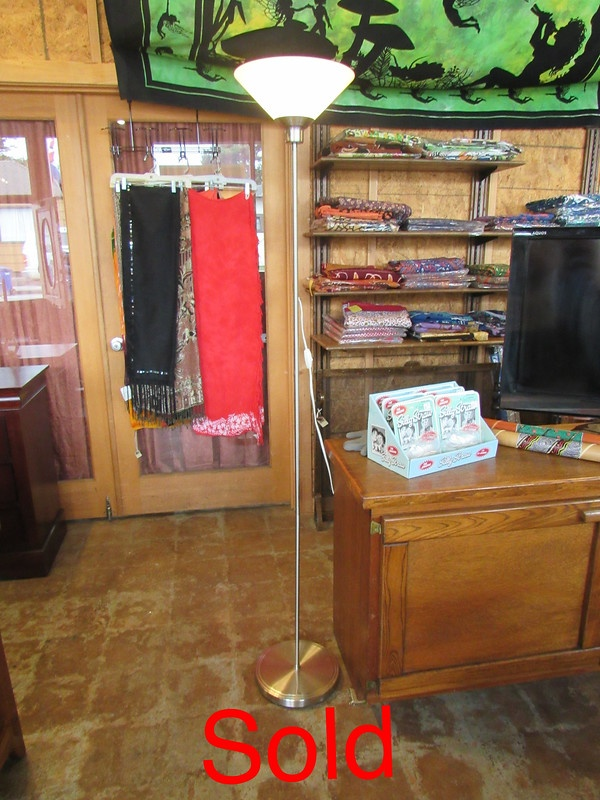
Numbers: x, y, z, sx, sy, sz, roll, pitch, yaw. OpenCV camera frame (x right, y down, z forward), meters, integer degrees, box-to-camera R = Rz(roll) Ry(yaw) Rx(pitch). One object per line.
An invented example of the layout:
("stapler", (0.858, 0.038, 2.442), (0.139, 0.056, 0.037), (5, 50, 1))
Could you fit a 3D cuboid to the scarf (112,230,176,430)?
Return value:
("scarf", (-0.769, -0.320, 2.904), (0.261, 0.922, 0.026), (-6, 9, 5))
